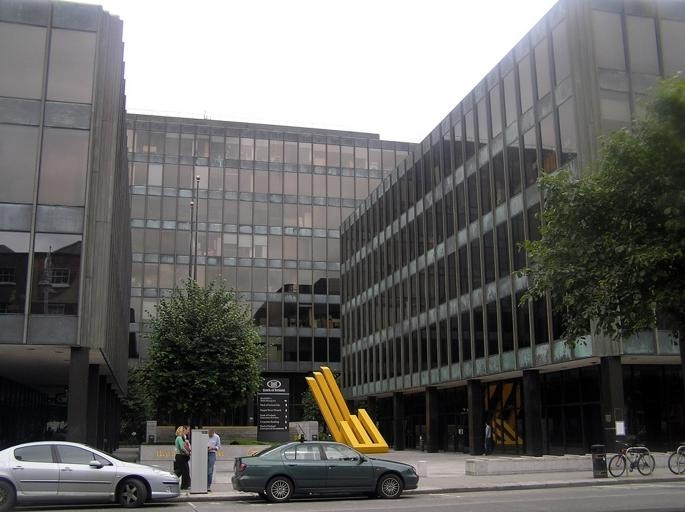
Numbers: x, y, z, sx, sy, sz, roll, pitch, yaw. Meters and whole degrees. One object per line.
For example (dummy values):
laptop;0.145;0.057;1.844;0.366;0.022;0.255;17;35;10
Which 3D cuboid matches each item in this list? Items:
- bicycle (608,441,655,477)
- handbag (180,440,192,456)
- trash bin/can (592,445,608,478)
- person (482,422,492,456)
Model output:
bicycle;11.196;7.922;26.599;1.512;1.011;3.365;-12;-18;33
handbag;-5.318;6.541;23.410;0.304;0.606;0.436;-15;21;-4
trash bin/can;9.445;7.565;25.350;0.529;1.154;0.955;-7;-15;18
person;8.449;10.682;39.960;0.543;1.592;1.703;-5;-15;11
